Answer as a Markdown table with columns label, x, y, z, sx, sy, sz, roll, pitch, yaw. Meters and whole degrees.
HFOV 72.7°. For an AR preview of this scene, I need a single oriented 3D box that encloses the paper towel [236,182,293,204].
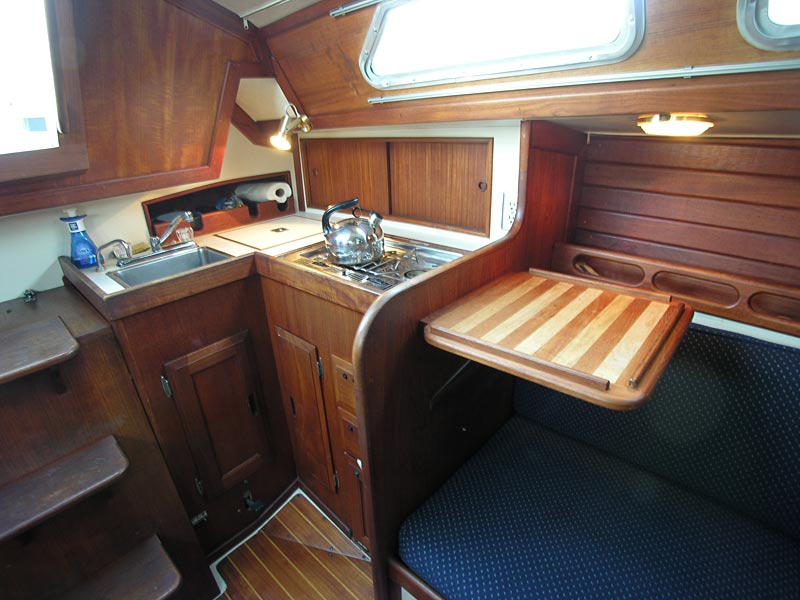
| label | x | y | z | sx | sy | sz | roll | pitch | yaw |
| --- | --- | --- | --- | --- | --- | --- | --- | --- | --- |
| paper towel | -0.925 | -0.712 | 3.713 | 0.369 | 0.168 | 0.221 | -11 | 23 | -19 |

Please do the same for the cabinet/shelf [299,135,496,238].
| label | x | y | z | sx | sy | sz | roll | pitch | yaw |
| --- | --- | --- | --- | --- | --- | --- | --- | --- | --- |
| cabinet/shelf | -0.072 | -0.733 | 3.298 | 1.363 | 0.534 | 0.170 | 14 | 28 | 34 |

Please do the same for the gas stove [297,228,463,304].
| label | x | y | z | sx | sy | sz | roll | pitch | yaw |
| --- | --- | --- | --- | --- | --- | --- | --- | --- | --- |
| gas stove | -0.041 | -0.190 | 2.875 | 0.528 | 0.059 | 0.411 | 22 | 34 | 38 |

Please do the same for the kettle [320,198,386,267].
| label | x | y | z | sx | sy | sz | roll | pitch | yaw |
| --- | --- | --- | --- | --- | --- | --- | --- | --- | --- |
| kettle | -0.215 | -0.351 | 2.999 | 0.407 | 0.404 | 0.376 | -11 | 35 | -15 |

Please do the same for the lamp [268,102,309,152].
| label | x | y | z | sx | sy | sz | roll | pitch | yaw |
| --- | --- | --- | --- | --- | --- | --- | --- | --- | --- |
| lamp | -0.643 | -1.033 | 3.244 | 0.215 | 0.262 | 0.264 | -1 | 22 | 4 |

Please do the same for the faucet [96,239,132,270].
| label | x | y | z | sx | sy | sz | roll | pitch | yaw |
| --- | --- | --- | --- | --- | --- | --- | --- | --- | --- |
| faucet | -1.594 | -0.285 | 3.039 | 0.165 | 0.155 | 0.279 | -13 | 24 | -23 |

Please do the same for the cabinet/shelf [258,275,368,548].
| label | x | y | z | sx | sy | sz | roll | pitch | yaw |
| --- | --- | --- | --- | --- | --- | --- | --- | --- | --- |
| cabinet/shelf | -0.211 | 0.597 | 3.172 | 0.543 | 1.600 | 0.891 | -17 | 25 | -32 |
